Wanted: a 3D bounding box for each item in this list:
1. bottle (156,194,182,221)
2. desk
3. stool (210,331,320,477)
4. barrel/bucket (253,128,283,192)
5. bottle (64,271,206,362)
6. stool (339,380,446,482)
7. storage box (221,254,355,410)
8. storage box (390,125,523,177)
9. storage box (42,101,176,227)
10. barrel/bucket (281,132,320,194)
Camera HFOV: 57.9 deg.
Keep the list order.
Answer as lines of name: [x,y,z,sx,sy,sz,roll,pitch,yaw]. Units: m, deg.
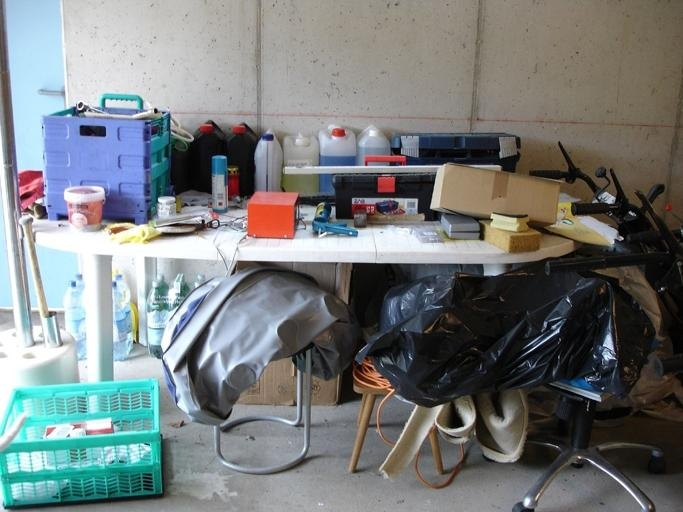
bottle: [-0.789,-0.216,2.851,0.125,0.134,0.121,-9,23,-34]
desk: [-0.300,0.221,2.755,2.216,0.852,0.336,-1,20,0]
stool: [-0.273,0.652,2.841,0.491,0.595,0.517,3,15,-2]
barrel/bucket: [-0.380,-0.396,3.208,0.110,0.498,0.143,-1,-11,1]
bottle: [-1.015,0.301,2.992,0.468,0.287,0.114,2,28,-7]
stool: [0.259,0.684,2.839,0.460,0.437,0.523,6,52,5]
storage box: [-0.232,0.336,3.227,0.584,0.836,0.815,1,14,2]
storage box: [0.602,-0.513,3.292,0.681,0.229,0.336,1,10,3]
storage box: [-0.993,-0.440,2.921,0.549,0.615,0.539,2,13,4]
barrel/bucket: [-0.217,-0.477,3.250,0.195,0.282,0.420,-1,20,-2]
